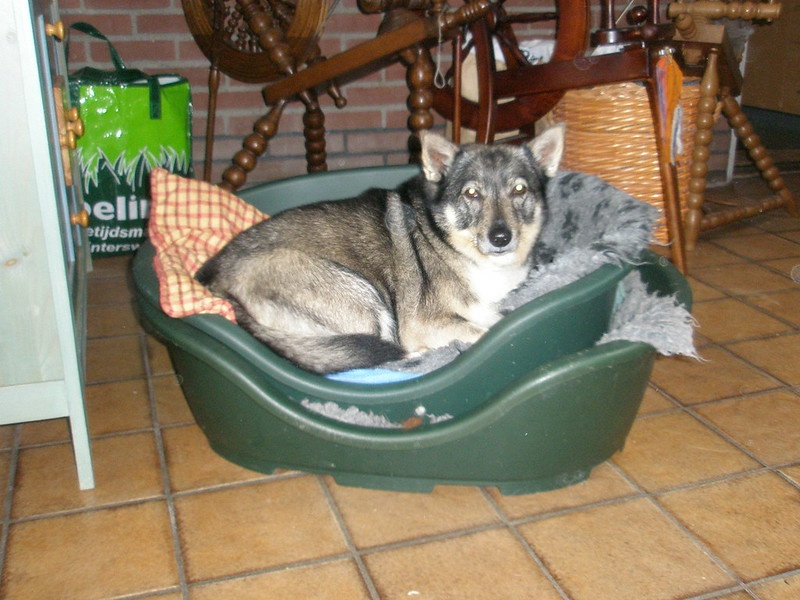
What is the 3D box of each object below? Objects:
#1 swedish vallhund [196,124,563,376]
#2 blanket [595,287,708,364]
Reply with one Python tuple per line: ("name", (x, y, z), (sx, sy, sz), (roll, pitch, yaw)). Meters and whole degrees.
("swedish vallhund", (0.148, -0.086, 3.221), (1.486, 0.573, 0.934), (-19, 40, -13))
("blanket", (0.909, 0.070, 2.718), (0.345, 0.079, 0.266), (5, 55, 29))
